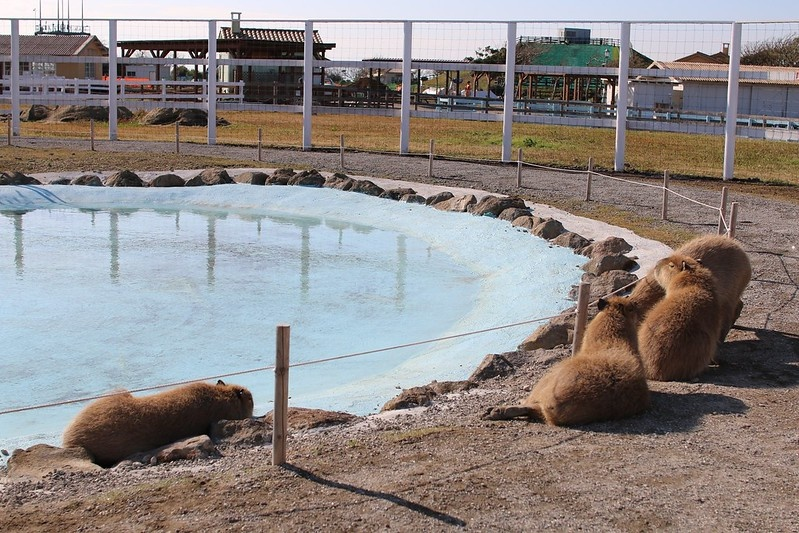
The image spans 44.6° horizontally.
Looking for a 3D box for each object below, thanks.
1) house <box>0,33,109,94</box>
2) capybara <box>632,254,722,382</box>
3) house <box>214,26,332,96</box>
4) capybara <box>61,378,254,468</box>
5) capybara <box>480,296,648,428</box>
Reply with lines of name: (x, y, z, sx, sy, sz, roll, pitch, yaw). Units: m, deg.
house: (-18.288, -10.783, 50.978, 4.225, 3.222, 19.244, -1, 10, -12)
capybara: (3.504, 0.653, 11.950, 0.999, 1.548, 0.877, 7, -27, 15)
house: (-5.631, -10.638, 49.184, 6.796, 3.294, 3.822, 8, 34, 20)
capybara: (-2.716, 1.656, 11.408, 2.142, 0.702, 0.661, -14, 20, -27)
capybara: (2.211, 1.150, 11.105, 0.964, 0.851, 2.317, -1, 16, 43)
